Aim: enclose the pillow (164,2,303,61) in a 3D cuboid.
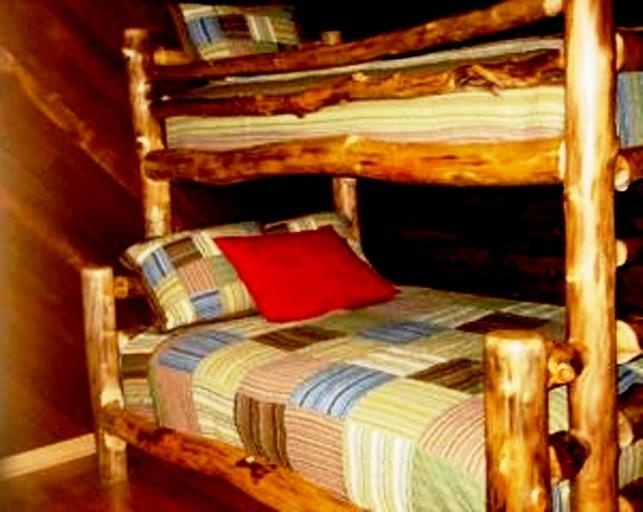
[{"bbox_3d":[-0.406,-1.046,3.245,0.807,0.325,0.082,-6,-9,-40],"label":"pillow"}]
